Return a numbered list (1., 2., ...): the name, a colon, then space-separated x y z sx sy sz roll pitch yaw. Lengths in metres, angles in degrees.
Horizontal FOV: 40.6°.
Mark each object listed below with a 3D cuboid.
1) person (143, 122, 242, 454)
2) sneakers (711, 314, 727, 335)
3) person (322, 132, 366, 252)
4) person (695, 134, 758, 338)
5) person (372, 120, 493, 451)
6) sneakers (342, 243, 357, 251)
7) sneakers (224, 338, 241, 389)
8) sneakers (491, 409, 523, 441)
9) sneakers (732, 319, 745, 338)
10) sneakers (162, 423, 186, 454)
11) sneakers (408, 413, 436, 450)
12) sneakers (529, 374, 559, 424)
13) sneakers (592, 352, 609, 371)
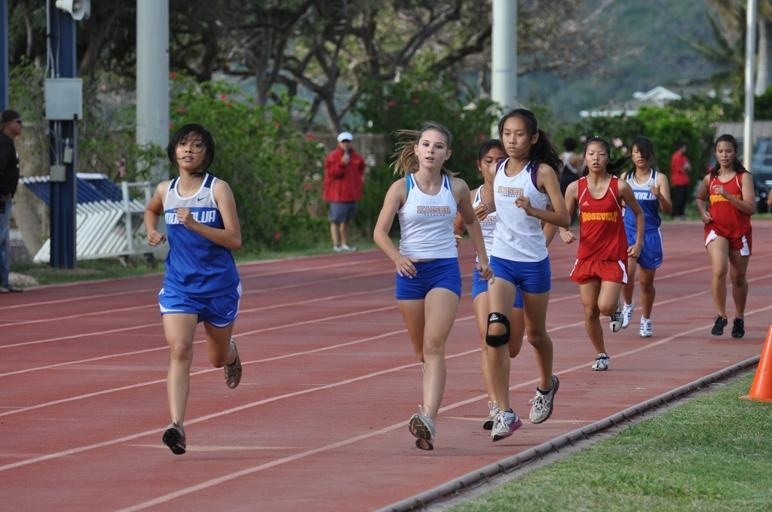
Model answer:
1. person: -1.513 0.241 8.403 0.700 2.584 1.358 -3 5 -12
2. sneakers: 3.931 0.849 12.577 0.115 0.147 0.338 9 34 20
3. person: -0.909 -1.325 21.732 0.739 2.450 1.049 -1 5 8
4. person: 4.004 -0.245 12.573 0.624 2.408 0.589 0 5 18
5. person: 0.351 0.227 8.422 0.875 2.581 1.328 -2 5 2
6. sneakers: -0.766 -0.158 21.741 0.314 0.144 0.114 0 5 17
7. sneakers: -1.360 1.011 9.366 0.166 0.514 0.201 -3 15 -2
8. sneakers: 0.917 1.355 8.394 0.145 0.196 0.387 -18 5 37
9. sneakers: 4.116 0.872 12.414 0.105 0.131 0.306 1 30 8
10. sneakers: -1.579 1.379 7.879 0.119 0.303 0.139 4 46 15
11. sneakers: 0.278 1.369 7.964 0.142 0.322 0.147 7 34 33
12. sneakers: 1.284 1.248 8.880 0.175 0.480 0.199 9 -22 34
13. sneakers: 2.176 1.100 10.836 0.096 0.113 0.241 0 5 24
